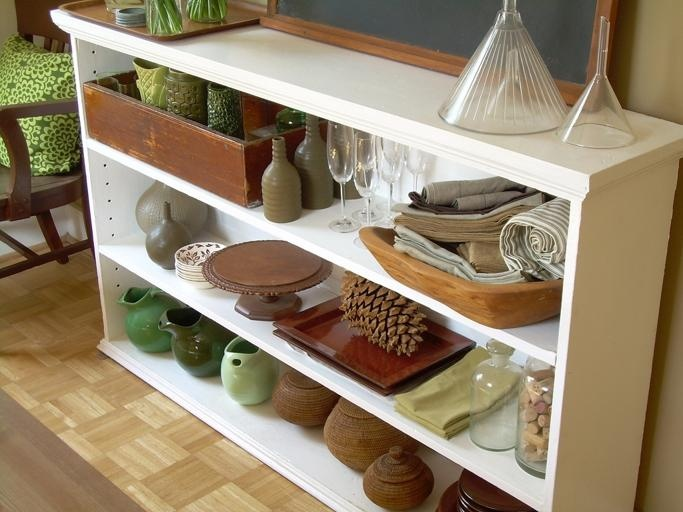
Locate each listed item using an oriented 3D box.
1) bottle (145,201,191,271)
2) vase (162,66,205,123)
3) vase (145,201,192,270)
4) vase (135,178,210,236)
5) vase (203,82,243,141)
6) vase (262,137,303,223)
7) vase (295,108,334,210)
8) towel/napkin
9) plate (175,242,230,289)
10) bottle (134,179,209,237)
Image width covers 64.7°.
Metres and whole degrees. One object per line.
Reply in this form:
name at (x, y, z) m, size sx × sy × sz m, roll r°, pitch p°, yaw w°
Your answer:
bottle at (-0.603, -0.073, 1.879) m, size 0.157 × 0.234 × 0.160 m, roll 2°, pitch 22°, yaw -1°
vase at (-0.456, -0.477, 1.602) m, size 0.104 × 0.128 × 0.114 m, roll 10°, pitch 26°, yaw 10°
vase at (-0.601, -0.073, 1.877) m, size 0.156 × 0.229 × 0.157 m, roll -14°, pitch 30°, yaw -37°
vase at (-0.651, -0.174, 1.992) m, size 0.238 × 0.224 × 0.246 m, roll -3°, pitch -3°, yaw 24°
vase at (-0.305, -0.412, 1.519) m, size 0.071 × 0.127 × 0.122 m, roll 4°, pitch 3°, yaw -34°
vase at (-0.157, -0.201, 1.409) m, size 0.106 × 0.201 × 0.110 m, roll -10°, pitch 28°, yaw -18°
vase at (-0.075, -0.271, 1.483) m, size 0.095 × 0.277 × 0.099 m, roll -2°, pitch 10°, yaw 0°
towel/napkin at (0.282, -0.045, 1.054) m, size 0.241 × 0.091 × 0.242 m, roll -25°, pitch 39°, yaw -35°
plate at (-0.477, 0.061, 1.871) m, size 0.156 × 0.080 × 0.155 m, roll -24°, pitch 40°, yaw -38°
bottle at (-0.646, -0.177, 2.014) m, size 0.246 × 0.259 × 0.249 m, roll -7°, pitch 2°, yaw -39°
